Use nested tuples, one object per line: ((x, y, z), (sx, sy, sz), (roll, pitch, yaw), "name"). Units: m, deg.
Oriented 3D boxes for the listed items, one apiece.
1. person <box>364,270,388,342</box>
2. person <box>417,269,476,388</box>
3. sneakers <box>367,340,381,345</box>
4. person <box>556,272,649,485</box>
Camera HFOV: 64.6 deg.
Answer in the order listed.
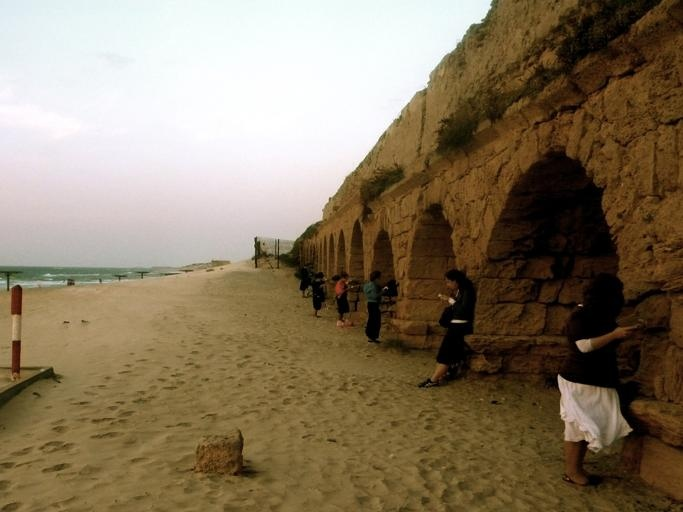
((0.582, 0.931, 9.984), (0.363, 1.306, 0.535), (4, 5, 4), "person")
((1.411, 0.958, 7.186), (0.656, 1.524, 0.433), (2, 6, -23), "person")
((0.602, 1.573, 9.824), (0.225, 0.064, 0.090), (-1, -11, 26), "sneakers")
((2.240, 1.105, 4.737), (0.603, 1.886, 0.388), (6, 6, 21), "person")
